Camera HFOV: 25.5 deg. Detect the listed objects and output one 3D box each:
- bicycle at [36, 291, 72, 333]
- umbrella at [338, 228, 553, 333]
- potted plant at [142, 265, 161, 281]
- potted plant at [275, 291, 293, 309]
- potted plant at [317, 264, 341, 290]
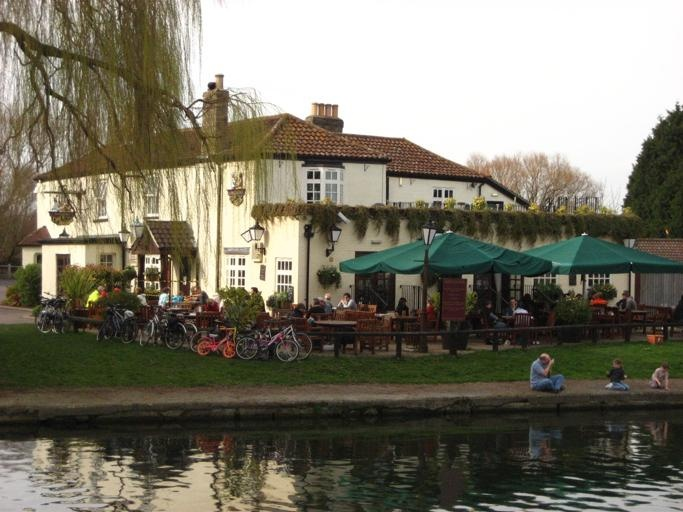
[{"bbox_3d":[-8.634,1.768,45.435,0.649,1.001,1.472,2,0,-45],"label":"bicycle"},{"bbox_3d":[2.886,0.678,42.988,4.514,2.485,4.197,1,0,-34],"label":"umbrella"},{"bbox_3d":[-6.596,0.588,52.457,0.387,0.375,0.415,-3,7,-23],"label":"potted plant"},{"bbox_3d":[-1.753,1.349,46.764,0.461,0.571,0.449,0,-1,-11],"label":"potted plant"},{"bbox_3d":[-0.415,0.625,47.388,0.783,0.757,0.489,1,-5,-7],"label":"potted plant"}]
